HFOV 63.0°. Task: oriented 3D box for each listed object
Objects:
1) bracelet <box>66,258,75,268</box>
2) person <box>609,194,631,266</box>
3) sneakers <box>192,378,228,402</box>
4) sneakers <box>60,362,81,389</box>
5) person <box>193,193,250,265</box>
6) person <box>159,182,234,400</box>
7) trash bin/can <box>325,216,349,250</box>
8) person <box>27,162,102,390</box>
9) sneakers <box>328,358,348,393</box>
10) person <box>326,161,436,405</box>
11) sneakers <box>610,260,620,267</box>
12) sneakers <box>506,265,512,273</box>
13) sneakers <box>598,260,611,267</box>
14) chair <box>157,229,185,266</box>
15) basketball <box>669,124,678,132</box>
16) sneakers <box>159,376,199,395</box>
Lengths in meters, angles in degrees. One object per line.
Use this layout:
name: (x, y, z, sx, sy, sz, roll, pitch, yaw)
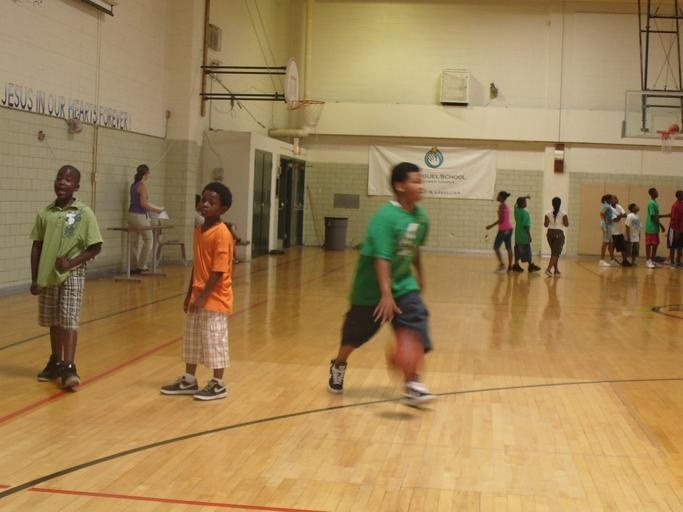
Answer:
bracelet: (-1.972, 0.049, 4.065, 0.040, 0.056, 0.015, 10, 15, -9)
person: (7.270, -0.684, 14.548, 0.533, 1.788, 1.110, 4, 8, 28)
sneakers: (-0.923, 0.965, 3.978, 0.265, 0.127, 0.108, 2, -2, -11)
sneakers: (-1.996, 0.880, 4.087, 0.095, 0.122, 0.268, -2, 2, -11)
person: (-2.396, -0.533, 11.647, 0.436, 1.419, 1.422, -4, 0, -1)
person: (-0.978, 0.250, 3.976, 0.489, 1.546, 0.317, 5, 8, 34)
trash bin/can: (-0.193, -0.785, 17.418, 0.783, 0.948, 0.715, -3, 9, -43)
person: (-2.101, 0.148, 4.209, 0.565, 1.653, 0.386, 3, 7, 22)
sneakers: (-0.015, 0.888, 4.215, 0.097, 0.133, 0.291, 12, 27, -22)
person: (0.330, 0.162, 3.892, 0.611, 1.627, 0.650, -1, 7, -11)
sneakers: (7.238, 0.177, 14.780, 0.169, 0.219, 0.511, 6, 5, 21)
sneakers: (3.878, 0.281, 12.812, 0.078, 0.160, 0.162, 0, 10, -5)
sneakers: (7.000, 0.172, 14.824, 0.364, 0.221, 0.135, 1, 8, -13)
chair: (-3.523, -0.221, 11.260, 0.650, 0.988, 0.589, 0, 2, -5)
basketball: (9.476, -3.674, 15.841, 0.252, 0.241, 0.423, 4, 8, 26)
sneakers: (-1.167, 0.959, 4.162, 0.328, 0.158, 0.125, 2, -3, 0)
